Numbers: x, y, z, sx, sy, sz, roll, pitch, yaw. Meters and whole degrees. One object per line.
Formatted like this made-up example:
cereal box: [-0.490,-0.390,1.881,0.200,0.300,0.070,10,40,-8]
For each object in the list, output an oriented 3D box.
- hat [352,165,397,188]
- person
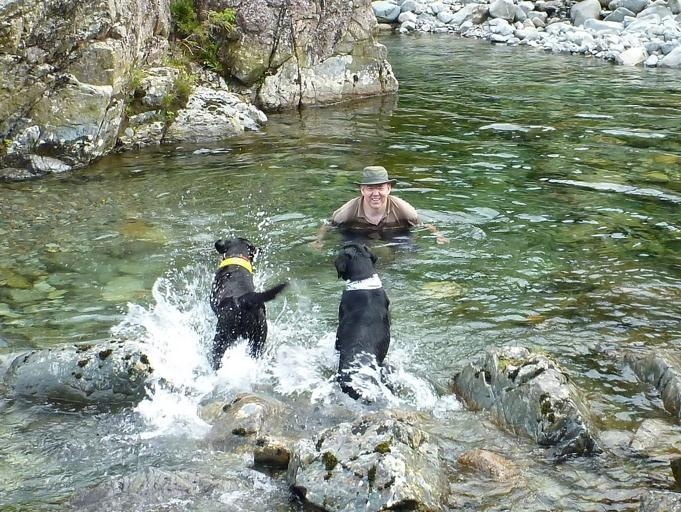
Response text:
hat: [0.506,-1.180,9.719,0.869,0.289,0.867,0,4,2]
person: [0.603,-0.610,9.246,2.016,1.065,0.787,0,9,12]
